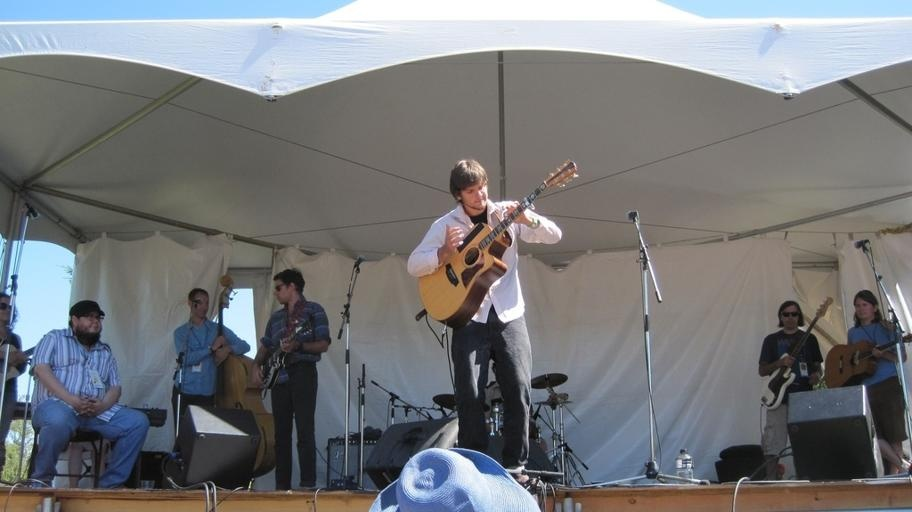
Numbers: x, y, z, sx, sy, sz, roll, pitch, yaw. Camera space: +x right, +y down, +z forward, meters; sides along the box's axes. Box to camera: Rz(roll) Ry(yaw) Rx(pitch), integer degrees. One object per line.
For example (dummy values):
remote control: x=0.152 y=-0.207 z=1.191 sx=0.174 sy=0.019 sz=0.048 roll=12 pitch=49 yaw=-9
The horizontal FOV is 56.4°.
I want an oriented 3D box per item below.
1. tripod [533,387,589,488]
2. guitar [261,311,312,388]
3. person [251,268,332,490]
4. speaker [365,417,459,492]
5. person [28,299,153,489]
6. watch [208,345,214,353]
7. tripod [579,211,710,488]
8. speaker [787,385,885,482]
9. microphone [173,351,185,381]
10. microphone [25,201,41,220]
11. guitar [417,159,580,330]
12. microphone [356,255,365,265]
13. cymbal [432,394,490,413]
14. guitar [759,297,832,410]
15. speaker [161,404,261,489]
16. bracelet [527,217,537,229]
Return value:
tripod: x=1.437 y=2.679 z=12.448 sx=0.699 sy=1.724 sz=0.575 roll=-1 pitch=-1 yaw=24
guitar: x=-2.206 y=1.306 z=10.949 sx=0.150 sy=0.455 sz=1.037 roll=12 pitch=-50 yaw=-37
person: x=-2.141 y=1.567 z=11.061 sx=0.966 sy=2.902 sz=0.589 roll=-14 pitch=-24 yaw=32
speaker: x=-0.523 y=2.167 z=9.606 sx=1.198 sy=1.072 sz=0.688 roll=2 pitch=1 yaw=-13
person: x=-4.607 y=1.721 z=10.748 sx=1.123 sy=2.523 sz=1.259 roll=2 pitch=-5 yaw=-25
watch: x=-3.453 y=1.336 z=12.008 sx=0.087 sy=0.090 sz=0.021 roll=-5 pitch=-15 yaw=11
tripod: x=2.275 y=1.393 z=10.518 sx=1.332 sy=4.695 sz=1.410 roll=2 pitch=2 yaw=20
speaker: x=4.010 y=1.926 z=9.133 sx=0.842 sy=0.923 sz=0.345 roll=-9 pitch=-22 yaw=22
microphone: x=-3.828 y=1.551 z=11.798 sx=0.093 sy=0.366 sz=0.199 roll=5 pitch=6 yaw=-36
microphone: x=-5.829 y=-0.617 z=11.725 sx=0.144 sy=0.221 sz=0.112 roll=-39 pitch=-44 yaw=-6
guitar: x=0.208 y=0.100 z=8.975 sx=2.501 sy=0.988 sz=0.341 roll=-49 pitch=-24 yaw=11
microphone: x=-1.345 y=0.077 z=11.916 sx=0.122 sy=0.131 sz=0.108 roll=7 pitch=-19 yaw=18
cymbal: x=0.060 y=1.766 z=10.153 sx=0.591 sy=0.160 sz=0.599 roll=10 pitch=-20 yaw=15
guitar: x=4.693 y=1.413 z=11.815 sx=0.705 sy=1.645 sz=0.846 roll=0 pitch=1 yaw=20
speaker: x=-2.714 y=2.047 z=9.830 sx=0.867 sy=1.084 sz=0.711 roll=1 pitch=-1 yaw=-11
bracelet: x=0.802 y=-0.349 z=9.058 sx=0.117 sy=0.121 sz=0.028 roll=2 pitch=-4 yaw=1
